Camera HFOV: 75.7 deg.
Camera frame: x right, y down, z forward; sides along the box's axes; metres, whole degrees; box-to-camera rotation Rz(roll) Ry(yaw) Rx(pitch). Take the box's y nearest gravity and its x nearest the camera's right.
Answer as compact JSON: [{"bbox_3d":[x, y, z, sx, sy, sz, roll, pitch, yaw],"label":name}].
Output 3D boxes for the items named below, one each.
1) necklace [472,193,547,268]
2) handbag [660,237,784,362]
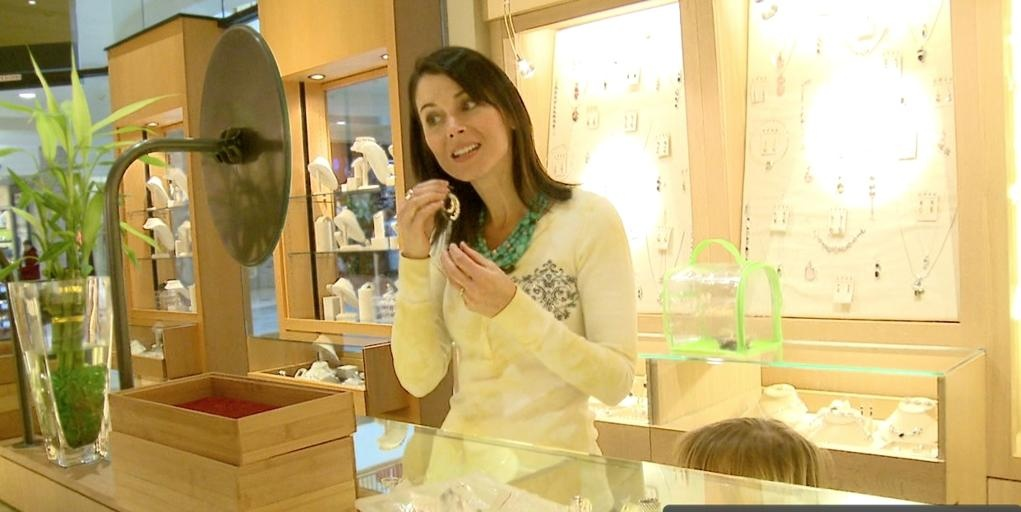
[{"bbox_3d":[0.006,-0.101,2.818,0.273,0.322,0.088,-9,-36,40],"label":"necklace"},{"bbox_3d":[1.242,0.288,3.930,0.855,0.774,0.672,1,4,42],"label":"handbag"}]
